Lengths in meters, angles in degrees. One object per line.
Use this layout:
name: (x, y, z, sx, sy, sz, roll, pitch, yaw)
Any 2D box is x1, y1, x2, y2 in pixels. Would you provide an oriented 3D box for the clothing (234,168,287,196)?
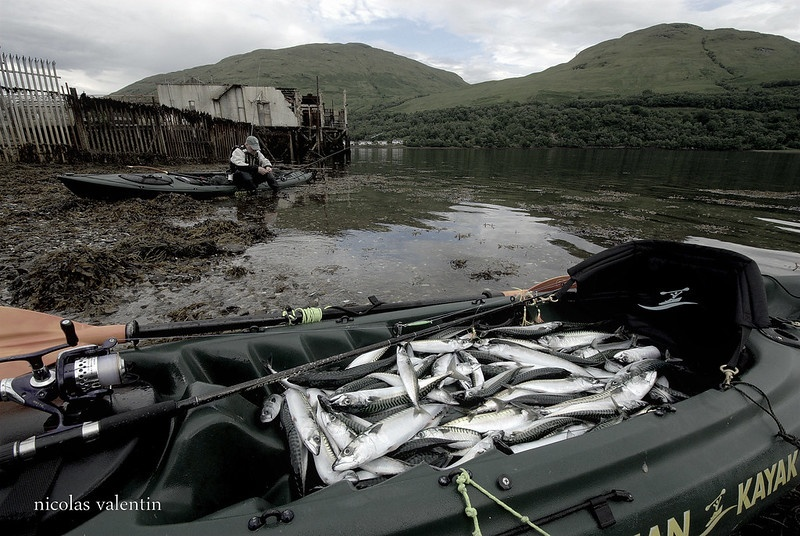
clothing: (-5.643, -3.333, 15.394, 1.257, 0.406, 0.923, 26, 30, 17)

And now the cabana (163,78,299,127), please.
cabana: (-12.466, -11.759, 28.994, 8.111, 2.631, 2.205, -9, 24, -25)

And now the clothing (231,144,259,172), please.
clothing: (-5.826, -4.092, 15.045, 0.767, 0.845, 1.200, 10, 15, 13)
